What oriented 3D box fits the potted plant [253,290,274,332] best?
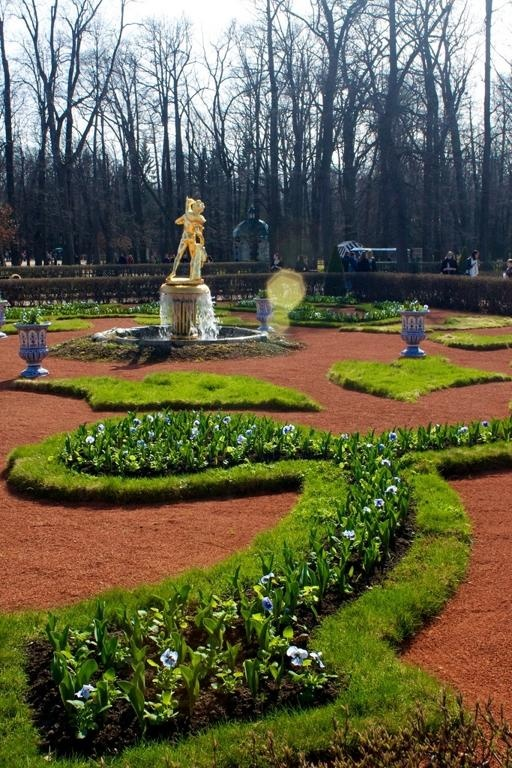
[{"bbox_3d":[0.156,-1.437,21.077,0.541,1.026,0.606,0,5,5],"label":"potted plant"}]

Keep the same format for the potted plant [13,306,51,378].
[{"bbox_3d":[-2.905,-0.542,13.835,0.325,0.895,0.382,-2,3,-6],"label":"potted plant"}]

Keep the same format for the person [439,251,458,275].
[{"bbox_3d":[5.275,-3.279,28.885,0.382,0.627,1.168,1,8,9],"label":"person"}]
